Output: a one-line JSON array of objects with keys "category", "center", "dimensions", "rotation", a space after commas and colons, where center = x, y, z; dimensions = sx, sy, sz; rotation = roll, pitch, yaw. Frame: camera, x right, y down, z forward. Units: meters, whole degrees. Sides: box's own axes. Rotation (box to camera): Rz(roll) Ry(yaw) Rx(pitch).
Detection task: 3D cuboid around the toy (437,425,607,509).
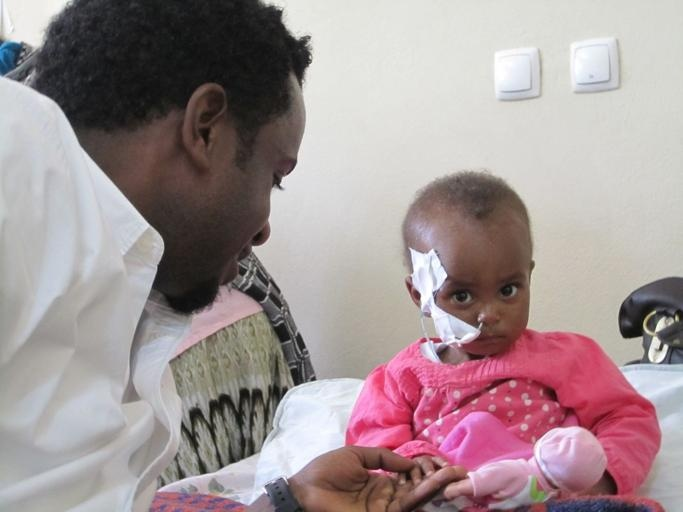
[{"category": "toy", "center": [0.311, 0.350, 1.239], "dimensions": [0.252, 0.122, 0.130], "rotation": [-20, 8, 0]}]
